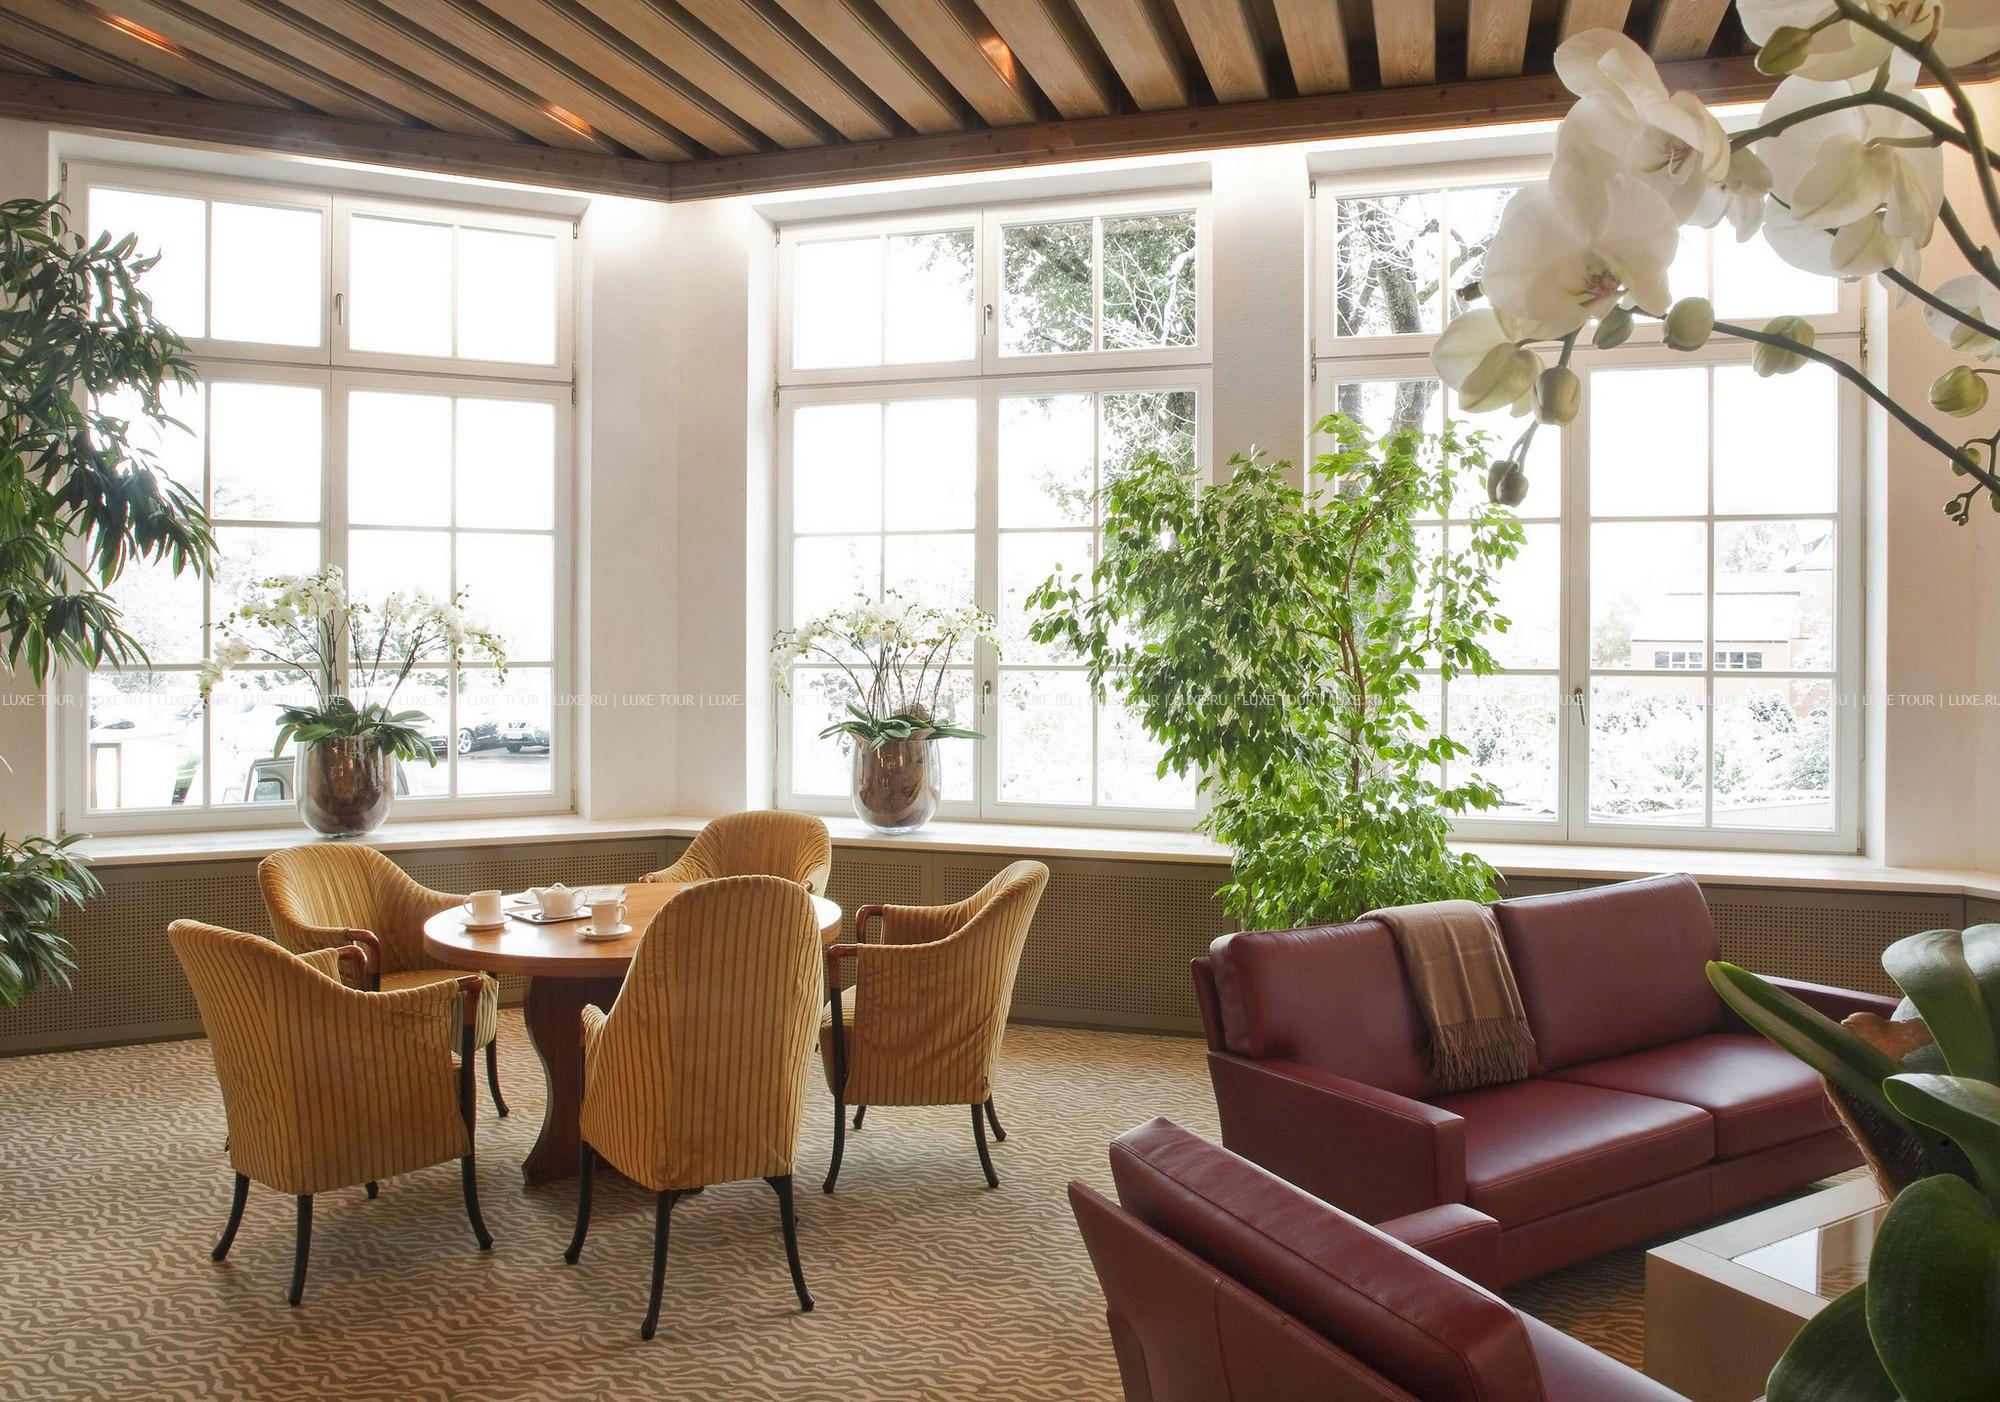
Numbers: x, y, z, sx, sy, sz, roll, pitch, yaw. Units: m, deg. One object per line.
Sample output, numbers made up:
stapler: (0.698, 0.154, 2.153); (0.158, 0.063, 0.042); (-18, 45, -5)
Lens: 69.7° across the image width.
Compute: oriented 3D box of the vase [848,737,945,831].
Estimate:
vase: (-0.485, 0.361, 6.630); (0.458, 0.455, 0.452); (1, 12, -5)

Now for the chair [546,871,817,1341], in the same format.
chair: (-0.875, 1.102, 4.091); (0.719, 1.236, 0.472); (-1, 9, -9)

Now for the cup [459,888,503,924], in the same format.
cup: (-1.746, 0.695, 4.850); (0.103, 0.106, 0.134); (-1, -3, 6)

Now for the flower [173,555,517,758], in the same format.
flower: (-2.889, -0.182, 6.446); (1.179, 0.741, 0.842); (-2, 3, -41)

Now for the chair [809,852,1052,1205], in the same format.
chair: (-0.211, 1.081, 5.226); (0.971, 1.295, 0.938); (1, -4, 0)

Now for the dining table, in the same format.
dining table: (-1.392, 1.205, 4.941); (1.183, 0.780, 1.194); (3, -6, 30)

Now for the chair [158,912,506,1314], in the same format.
chair: (-2.024, 1.178, 4.437); (0.867, 1.049, 0.841); (0, 1, -14)

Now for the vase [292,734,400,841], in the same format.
vase: (-2.846, 0.425, 6.319); (0.385, 0.453, 0.387); (-12, -13, 27)

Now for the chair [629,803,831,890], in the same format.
chair: (-0.975, 0.601, 5.827); (0.462, 0.464, 0.407); (-1, -14, 11)

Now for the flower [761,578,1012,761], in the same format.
flower: (-0.516, -0.041, 6.841); (0.906, 0.780, 1.127); (4, -21, -9)

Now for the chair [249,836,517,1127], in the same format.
chair: (-2.217, 1.080, 5.135); (0.749, 1.044, 0.713); (1, 3, 30)

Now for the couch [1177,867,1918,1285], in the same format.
couch: (1.444, 1.030, 3.907); (1.266, 0.627, 0.613); (-1, -4, -31)
